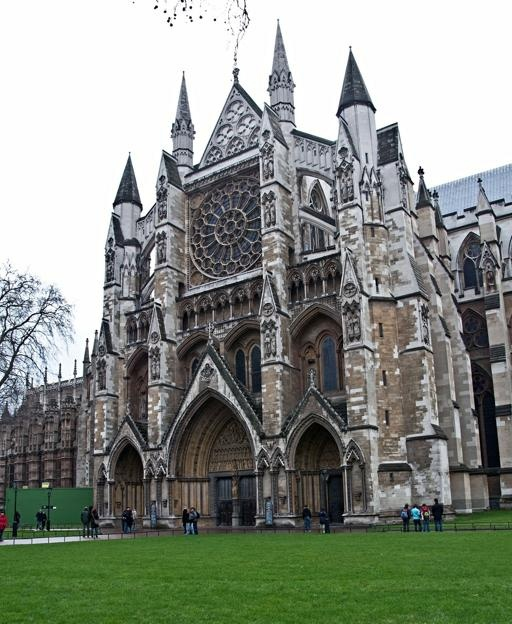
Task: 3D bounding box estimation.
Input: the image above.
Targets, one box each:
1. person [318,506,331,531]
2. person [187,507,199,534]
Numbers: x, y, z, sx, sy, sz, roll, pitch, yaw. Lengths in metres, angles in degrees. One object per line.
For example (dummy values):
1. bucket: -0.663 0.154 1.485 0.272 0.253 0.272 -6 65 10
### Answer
1. person: 2.575 7.851 25.629 0.311 0.826 1.199 -4 -19 6
2. person: -2.679 8.886 29.150 0.432 1.173 2.039 -1 -20 -6
